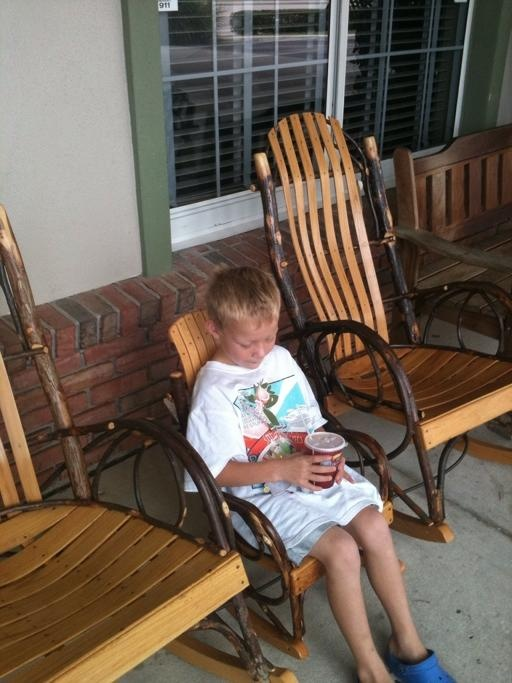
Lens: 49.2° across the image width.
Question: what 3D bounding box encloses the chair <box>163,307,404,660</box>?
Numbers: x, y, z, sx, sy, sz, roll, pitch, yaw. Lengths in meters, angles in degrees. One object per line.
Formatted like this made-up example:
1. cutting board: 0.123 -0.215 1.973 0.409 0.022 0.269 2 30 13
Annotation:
1. chair: 0.060 0.331 1.263 0.410 0.729 0.544 -33 46 -27
